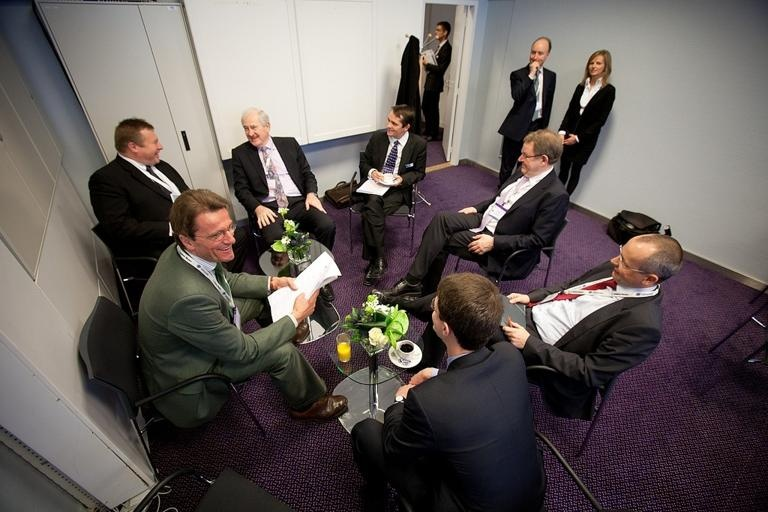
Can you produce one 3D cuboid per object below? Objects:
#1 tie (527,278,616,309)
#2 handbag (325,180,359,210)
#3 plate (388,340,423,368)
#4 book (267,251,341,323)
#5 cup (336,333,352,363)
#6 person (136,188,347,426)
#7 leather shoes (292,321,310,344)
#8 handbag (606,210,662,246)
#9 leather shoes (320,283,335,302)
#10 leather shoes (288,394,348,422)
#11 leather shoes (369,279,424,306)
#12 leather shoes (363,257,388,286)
[{"bbox_3d":[1.552,0.316,3.891,0.714,0.084,0.189,-24,28,33],"label":"tie"},{"bbox_3d":[-0.590,-0.883,6.076,0.406,0.190,0.421,-29,45,-5],"label":"handbag"},{"bbox_3d":[0.166,0.773,3.765,0.237,0.120,0.250,-18,45,-16],"label":"plate"},{"bbox_3d":[-0.656,0.337,3.992,0.576,0.188,0.439,-34,40,-6],"label":"book"},{"bbox_3d":[-0.330,0.756,3.780,0.124,0.218,0.133,3,46,-3],"label":"cup"},{"bbox_3d":[-1.232,0.491,3.889,1.347,1.854,0.940,-9,44,-18],"label":"person"},{"bbox_3d":[-0.736,0.680,4.072,0.091,0.093,0.226,7,60,11],"label":"leather shoes"},{"bbox_3d":[2.768,-0.309,5.087,0.325,0.225,0.340,-6,43,-19],"label":"handbag"},{"bbox_3d":[-0.612,0.375,4.829,0.085,0.099,0.238,-20,49,-21],"label":"leather shoes"},{"bbox_3d":[-0.557,1.286,3.909,0.488,0.235,0.203,-6,32,-8],"label":"leather shoes"},{"bbox_3d":[0.116,0.415,4.715,0.557,0.284,0.221,-2,27,-10],"label":"leather shoes"},{"bbox_3d":[-0.097,0.178,5.016,0.146,0.162,0.365,16,45,9],"label":"leather shoes"}]
